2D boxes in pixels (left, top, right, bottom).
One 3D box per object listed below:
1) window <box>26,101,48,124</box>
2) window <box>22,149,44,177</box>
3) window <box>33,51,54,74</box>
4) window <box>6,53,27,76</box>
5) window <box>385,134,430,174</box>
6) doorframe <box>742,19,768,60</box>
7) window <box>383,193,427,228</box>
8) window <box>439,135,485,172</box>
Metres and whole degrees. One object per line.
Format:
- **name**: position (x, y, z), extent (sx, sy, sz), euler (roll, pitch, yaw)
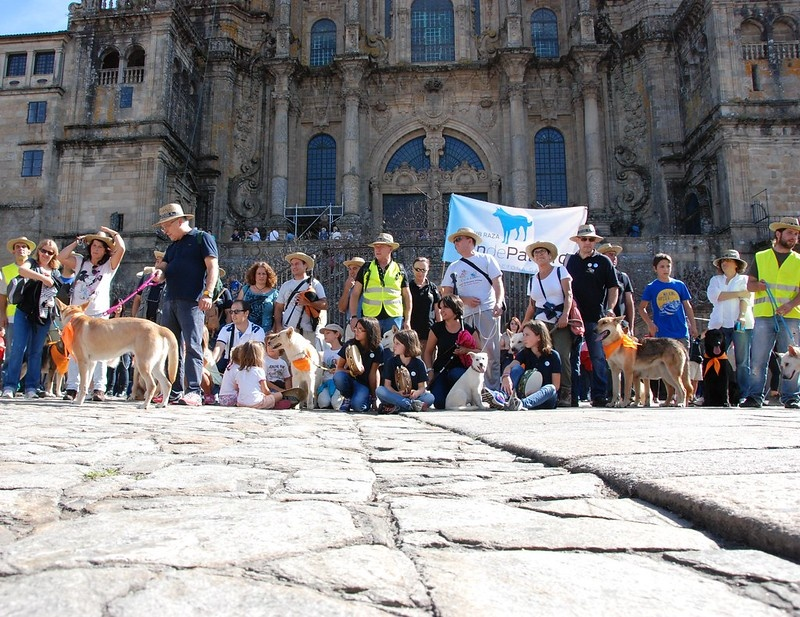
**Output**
- **window**: position (-13.594, -7.310, 28.503), extent (0.841, 1.036, 0.072), euler (-2, -3, 8)
- **window**: position (-13.596, -5.379, 28.198), extent (0.953, 1.263, 0.093), euler (-2, -13, 7)
- **window**: position (-13.593, -9.362, 29.029), extent (0.898, 1.150, 0.090), euler (-1, -12, 0)
- **window**: position (-14.825, -9.404, 29.403), extent (0.923, 1.274, 0.100), euler (-1, -13, -2)
- **window**: position (0.289, -6.435, 31.715), extent (1.594, 1.608, 0.107), euler (-6, -30, 16)
- **doorframe**: position (11.848, -8.989, 25.633), extent (0.794, 1.551, 0.591), euler (0, -6, 16)
- **window**: position (0.223, -3.962, 30.908), extent (2.264, 2.445, 0.124), euler (0, -41, 1)
- **window**: position (2.578, -6.392, 31.522), extent (1.580, 1.490, 0.126), euler (3, -29, 2)
